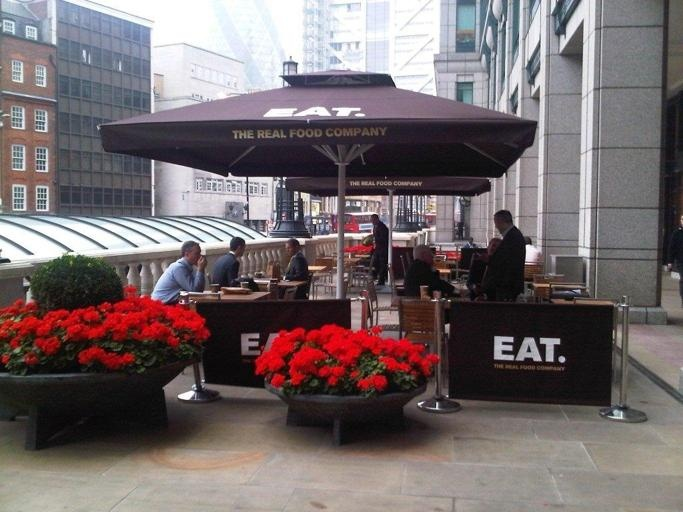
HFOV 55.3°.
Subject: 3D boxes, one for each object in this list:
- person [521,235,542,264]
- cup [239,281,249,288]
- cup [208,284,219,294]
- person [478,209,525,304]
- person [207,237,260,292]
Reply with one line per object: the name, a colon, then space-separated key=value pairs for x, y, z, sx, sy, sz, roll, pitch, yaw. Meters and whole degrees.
person: x=4.194 y=-0.100 z=14.385 sx=0.442 sy=0.724 sz=0.279 roll=-1 pitch=-22 yaw=-25
cup: x=-1.507 y=0.470 z=9.954 sx=0.094 sy=0.072 sz=0.096 roll=0 pitch=-1 yaw=0
cup: x=-1.785 y=0.487 z=9.110 sx=0.146 sy=0.112 sz=0.147 roll=0 pitch=-2 yaw=0
person: x=2.528 y=0.319 z=10.232 sx=0.604 sy=2.010 sz=0.764 roll=6 pitch=15 yaw=26
person: x=-2.083 y=0.210 z=12.609 sx=0.797 sy=1.564 sz=0.681 roll=-14 pitch=23 yaw=-41
